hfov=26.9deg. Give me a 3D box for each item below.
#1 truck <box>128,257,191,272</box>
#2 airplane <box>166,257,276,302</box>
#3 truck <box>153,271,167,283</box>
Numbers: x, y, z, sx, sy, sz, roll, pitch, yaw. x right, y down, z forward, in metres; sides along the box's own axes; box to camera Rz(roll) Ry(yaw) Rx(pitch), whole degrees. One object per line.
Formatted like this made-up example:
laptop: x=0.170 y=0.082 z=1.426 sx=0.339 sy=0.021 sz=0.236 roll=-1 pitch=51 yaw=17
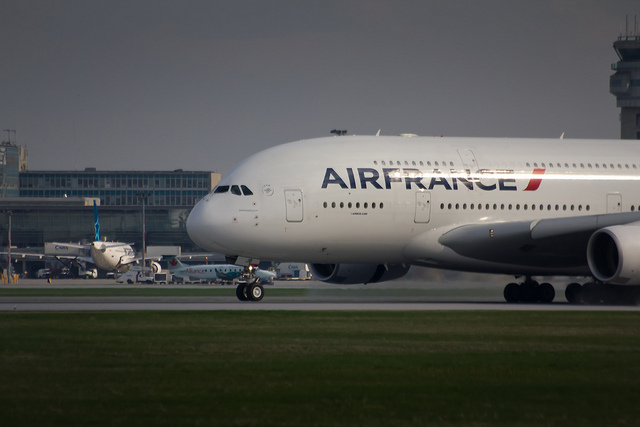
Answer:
truck: x=-12.997 y=3.986 z=107.466 sx=2.559 sy=0.820 sz=2.247 roll=-2 pitch=4 yaw=-11
airplane: x=-7.172 y=5.507 z=102.153 sx=6.176 sy=2.119 sz=6.245 roll=-2 pitch=1 yaw=2
truck: x=-12.401 y=4.872 z=103.506 sx=1.603 sy=0.873 sz=0.819 roll=1 pitch=-9 yaw=-24
